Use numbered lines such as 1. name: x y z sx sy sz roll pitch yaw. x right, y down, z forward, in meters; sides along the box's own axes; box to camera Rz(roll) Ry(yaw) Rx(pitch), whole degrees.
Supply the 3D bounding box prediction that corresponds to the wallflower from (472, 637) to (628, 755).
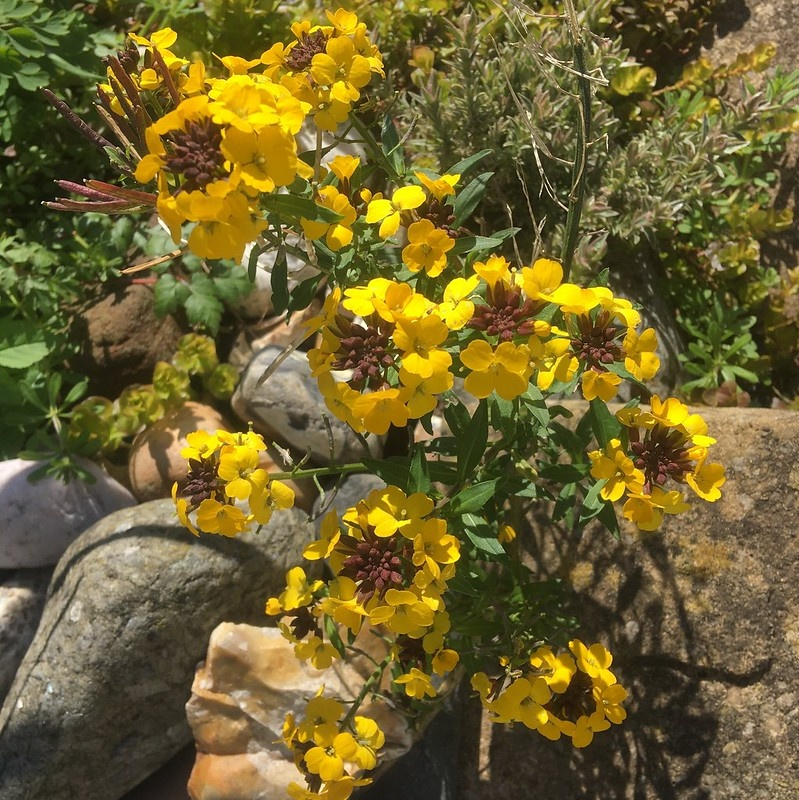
1. wallflower: 0.553 1.084 3.771 0.618 0.206 0.406 12 73 -16
